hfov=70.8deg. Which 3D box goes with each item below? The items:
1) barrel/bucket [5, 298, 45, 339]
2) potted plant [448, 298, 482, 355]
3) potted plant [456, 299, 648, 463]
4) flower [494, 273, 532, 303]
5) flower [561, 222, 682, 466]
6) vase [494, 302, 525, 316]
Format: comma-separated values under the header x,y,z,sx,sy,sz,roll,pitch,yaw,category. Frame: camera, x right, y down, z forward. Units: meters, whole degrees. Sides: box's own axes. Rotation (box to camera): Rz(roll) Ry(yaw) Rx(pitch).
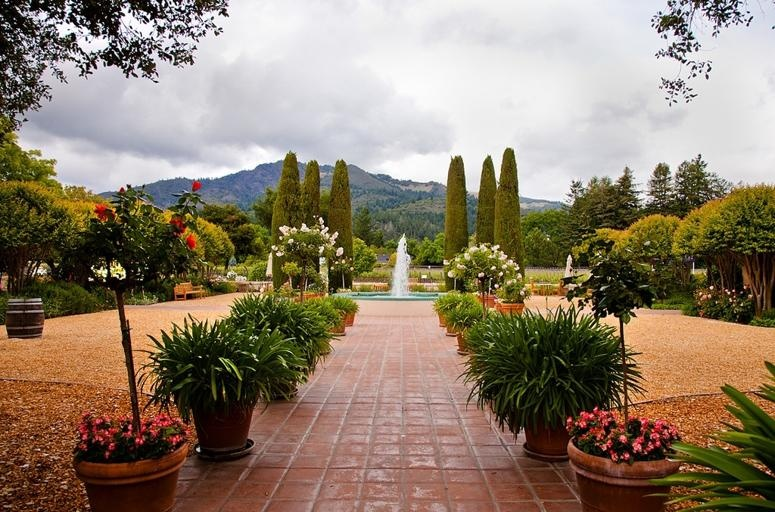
x,y,z,sx,sy,sz,roll,pitch,yaw,category
-7.943,1.341,12.007,0.752,0.946,0.809,0,-2,0,barrel/bucket
1.614,1.490,11.438,0.638,1.031,0.835,-2,-14,28,potted plant
2.132,1.416,6.851,1.854,1.542,1.918,1,-3,-25,potted plant
3.136,0.860,13.864,0.677,0.874,0.784,-1,4,-31,flower
2.640,0.918,6.200,1.114,2.122,2.102,-2,-1,27,flower
2.500,1.080,11.181,0.347,0.269,0.367,-1,-2,29,vase
